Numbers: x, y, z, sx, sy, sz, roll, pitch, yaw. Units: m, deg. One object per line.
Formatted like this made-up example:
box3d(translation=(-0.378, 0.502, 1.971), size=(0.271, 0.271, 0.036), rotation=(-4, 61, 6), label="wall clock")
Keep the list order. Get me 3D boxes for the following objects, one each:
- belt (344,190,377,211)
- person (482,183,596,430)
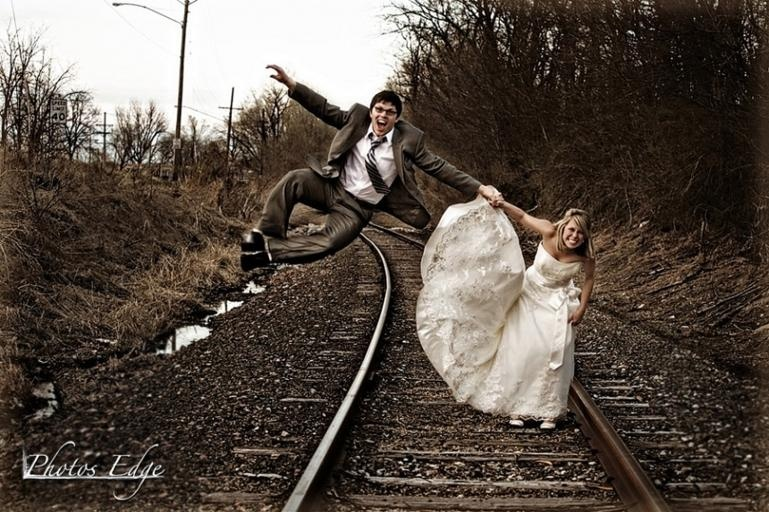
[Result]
box3d(translation=(-0.331, -0.701, 10.091), size=(0.311, 0.127, 0.324), rotation=(30, -4, 33), label="belt")
box3d(translation=(2.013, 0.754, 9.111), size=(1.034, 2.669, 1.267), rotation=(6, 11, 32), label="person")
